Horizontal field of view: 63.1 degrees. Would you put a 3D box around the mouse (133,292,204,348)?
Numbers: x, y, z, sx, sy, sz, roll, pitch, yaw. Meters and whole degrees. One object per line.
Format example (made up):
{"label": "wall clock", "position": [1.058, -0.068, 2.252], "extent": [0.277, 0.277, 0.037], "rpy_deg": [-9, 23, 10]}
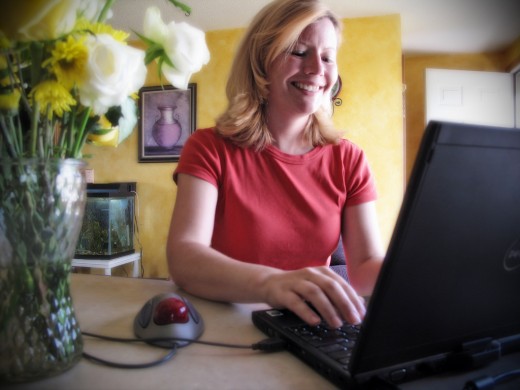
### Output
{"label": "mouse", "position": [-0.161, 0.204, 0.750], "extent": [0.123, 0.057, 0.164], "rpy_deg": [4, 10, -18]}
